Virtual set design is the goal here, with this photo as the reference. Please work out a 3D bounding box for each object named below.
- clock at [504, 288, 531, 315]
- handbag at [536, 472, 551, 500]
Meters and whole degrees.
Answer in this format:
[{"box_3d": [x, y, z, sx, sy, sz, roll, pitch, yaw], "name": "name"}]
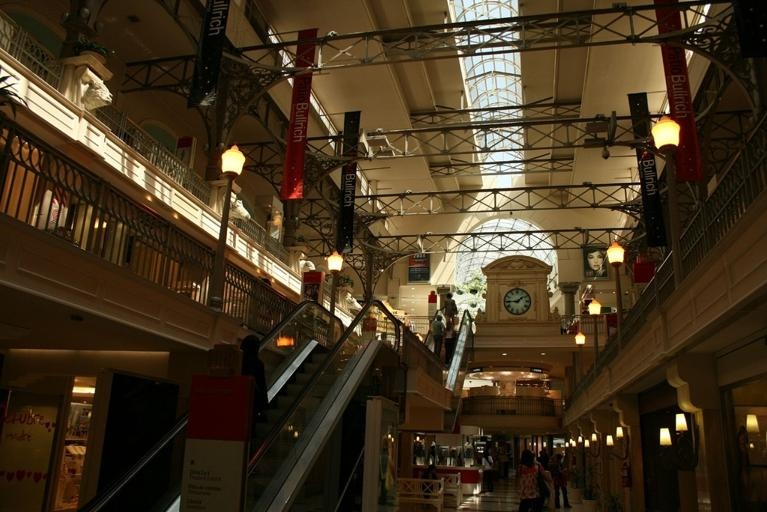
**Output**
[{"box_3d": [7.434, 2.538, 31.375, 1.085, 1.078, 0.081, -41, -25, -3], "name": "clock"}, {"box_3d": [3.643, 5.186, 13.026, 0.236, 0.710, 0.522, -13, -22, 24], "name": "handbag"}]
